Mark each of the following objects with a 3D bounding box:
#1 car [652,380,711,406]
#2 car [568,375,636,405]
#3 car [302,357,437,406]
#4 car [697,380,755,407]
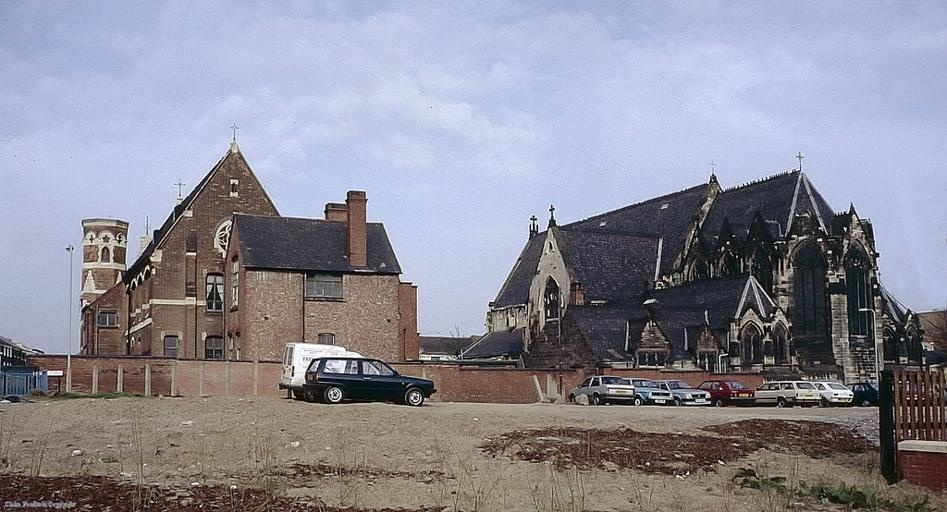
[{"bbox_3d":[14.279,9.403,83.694,1.891,0.978,2.877,2,-7,-27],"label":"car"},{"bbox_3d":[8.687,9.139,82.448,4.418,1.899,2.098,9,10,42],"label":"car"},{"bbox_3d":[-6.399,7.472,72.499,6.817,1.979,3.193,0,-6,-15],"label":"car"},{"bbox_3d":[17.523,9.671,85.816,1.990,0.872,3.024,1,-1,-24],"label":"car"}]
